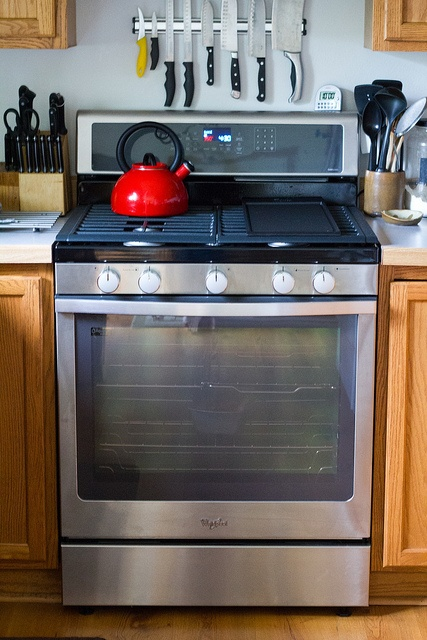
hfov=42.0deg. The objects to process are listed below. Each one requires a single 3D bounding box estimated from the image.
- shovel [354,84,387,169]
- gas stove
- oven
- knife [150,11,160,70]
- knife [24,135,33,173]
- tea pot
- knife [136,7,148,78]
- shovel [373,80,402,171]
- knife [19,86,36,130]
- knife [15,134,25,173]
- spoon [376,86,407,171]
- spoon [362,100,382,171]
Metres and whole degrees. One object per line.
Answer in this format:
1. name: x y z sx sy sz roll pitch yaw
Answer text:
1. shovel: 0.462 -0.551 1.611 0.101 0.064 0.414 3 -3 17
2. gas stove: 0.010 -0.235 1.317 0.700 0.057 0.404 -1 17 -1
3. oven: 0.011 0.197 1.483 0.730 0.880 0.603 0 13 -3
4. knife: -0.169 -0.788 1.576 0.028 0.144 0.019 -3 15 -9
5. knife: -0.487 -0.436 1.465 0.019 0.091 0.059 -9 18 -28
6. tea pot: -0.149 -0.368 1.353 0.188 0.226 0.189 0 13 0
7. knife: -0.205 -0.785 1.575 0.025 0.181 0.033 -7 16 -21
8. shovel: 0.444 -0.515 1.442 0.060 0.261 0.040 10 13 13
9. knife: -0.495 -0.560 1.479 0.042 0.121 0.131 -5 17 -17
10. knife: -0.504 -0.434 1.457 0.019 0.096 0.024 -4 4 -10
11. spoon: 0.457 -0.491 1.439 0.075 0.203 0.078 8 18 30
12. spoon: 0.422 -0.497 1.498 0.040 0.191 0.024 3 0 29
